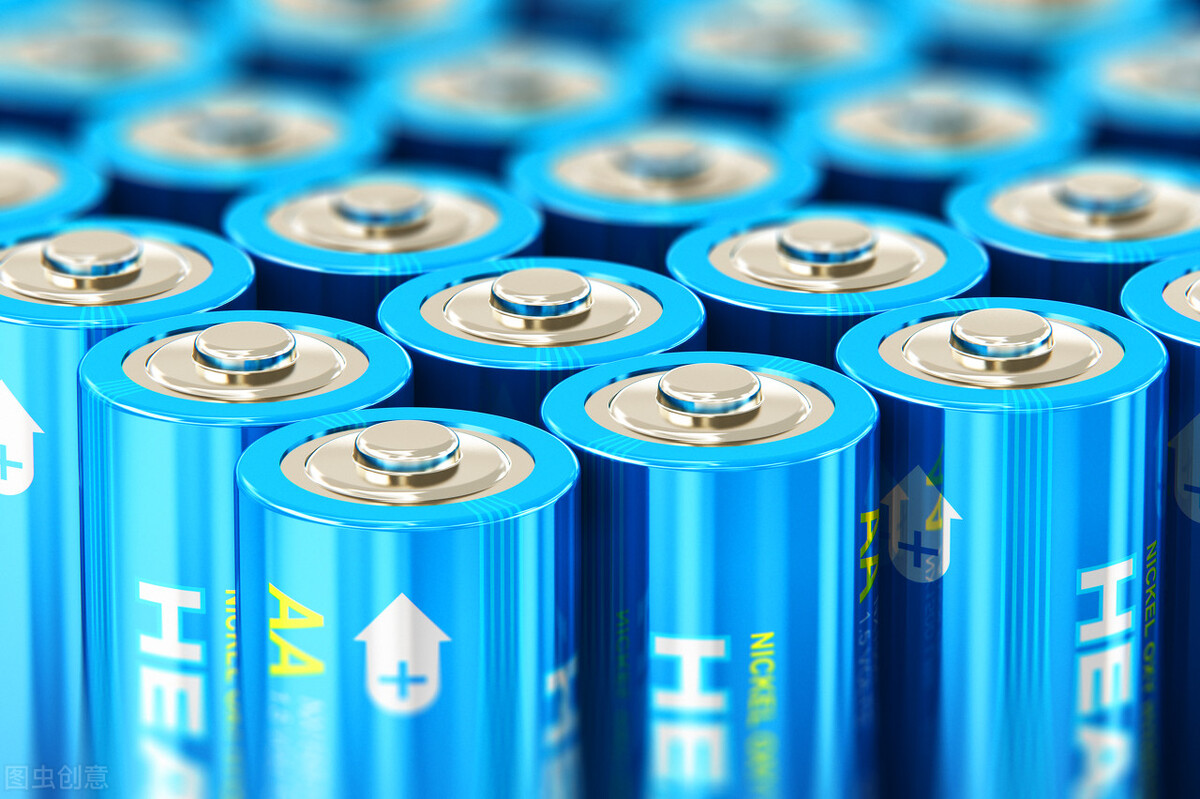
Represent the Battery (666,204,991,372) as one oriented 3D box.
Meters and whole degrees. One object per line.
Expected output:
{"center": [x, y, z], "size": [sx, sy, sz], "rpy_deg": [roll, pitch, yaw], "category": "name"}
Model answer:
{"center": [0.290, -0.201, 2.055], "size": [0.399, 0.075, 0.271], "rpy_deg": [5, 28, 20], "category": "Battery"}
